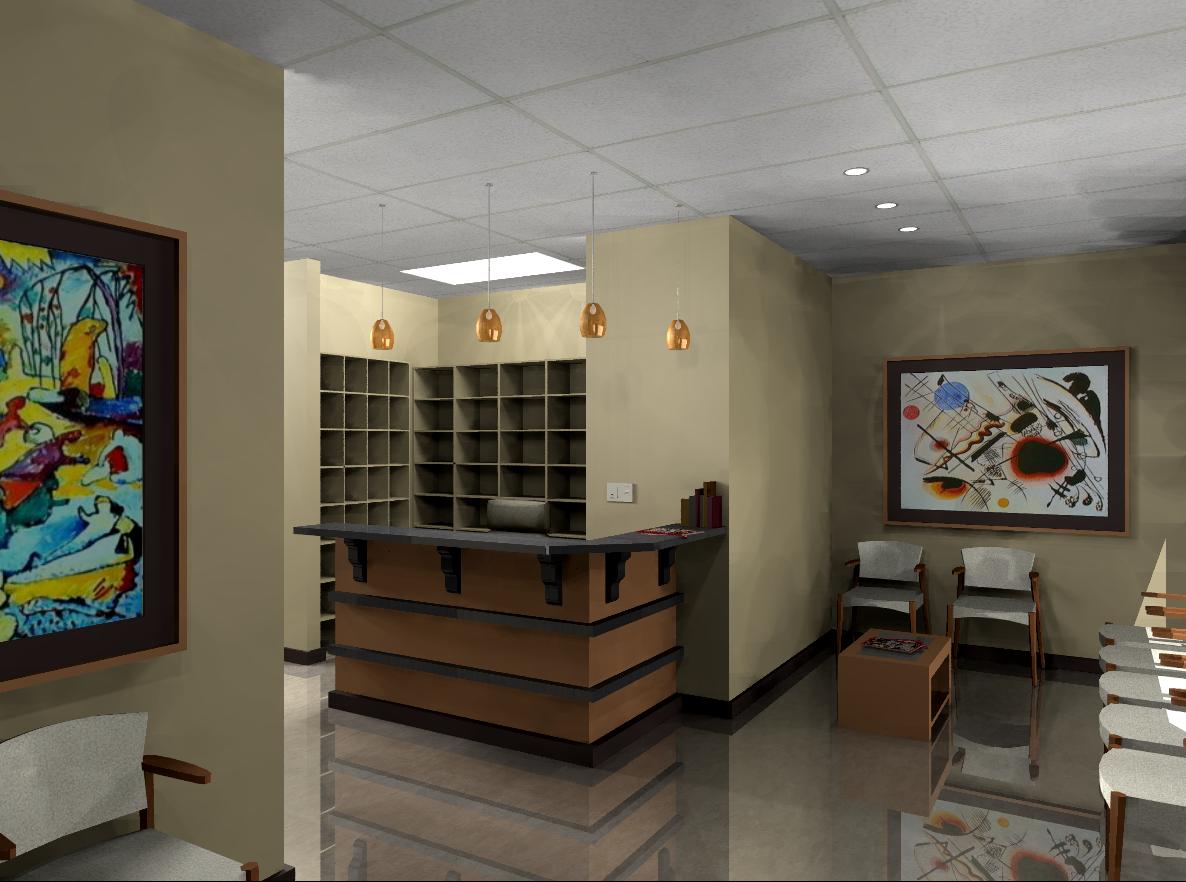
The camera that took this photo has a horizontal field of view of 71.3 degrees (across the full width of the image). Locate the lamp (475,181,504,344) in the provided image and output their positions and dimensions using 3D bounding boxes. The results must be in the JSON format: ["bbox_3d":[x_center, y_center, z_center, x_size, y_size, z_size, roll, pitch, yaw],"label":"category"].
[{"bbox_3d":[-0.667,-1.148,5.343,0.208,0.985,0.214,11,17,29],"label":"lamp"}]

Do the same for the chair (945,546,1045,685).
[{"bbox_3d":[3.195,1.342,6.563,0.704,0.950,0.731,2,3,29],"label":"chair"}]

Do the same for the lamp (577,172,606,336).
[{"bbox_3d":[0.003,-1.138,5.112,0.198,1.018,0.200,5,13,21],"label":"lamp"}]

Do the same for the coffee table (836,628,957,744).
[{"bbox_3d":[2.077,1.606,5.644,0.563,0.495,0.839,1,3,33],"label":"coffee table"}]

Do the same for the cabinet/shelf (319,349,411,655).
[{"bbox_3d":[-2.172,0.004,7.856,0.485,1.639,1.185,1,3,17],"label":"cabinet/shelf"}]

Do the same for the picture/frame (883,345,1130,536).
[{"bbox_3d":[3.466,-0.018,6.779,1.541,1.365,0.059,0,0,31],"label":"picture/frame"}]

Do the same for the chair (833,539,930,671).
[{"bbox_3d":[2.387,1.319,6.821,0.622,0.924,0.624,2,6,35],"label":"chair"}]

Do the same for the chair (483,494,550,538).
[{"bbox_3d":[-0.515,0.513,5.639,0.383,0.305,0.610,0,3,-10],"label":"chair"}]

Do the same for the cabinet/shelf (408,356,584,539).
[{"bbox_3d":[-0.885,0.029,7.961,1.641,1.549,0.543,0,-2,21],"label":"cabinet/shelf"}]
